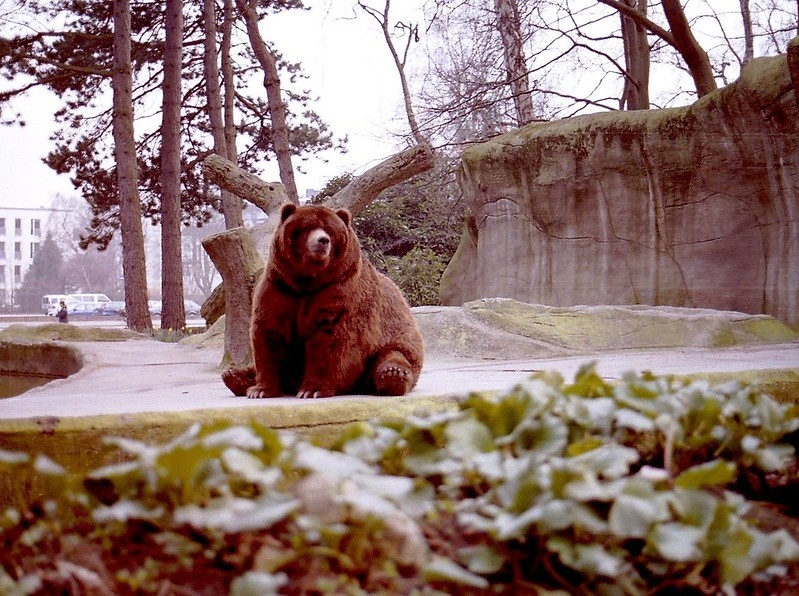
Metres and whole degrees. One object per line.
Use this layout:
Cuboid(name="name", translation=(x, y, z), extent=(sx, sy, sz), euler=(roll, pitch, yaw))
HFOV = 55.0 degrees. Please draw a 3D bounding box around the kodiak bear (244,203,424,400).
Cuboid(name="kodiak bear", translation=(-0.352, 0.040, 4.361), extent=(1.075, 1.040, 1.129), euler=(2, -2, 27))
